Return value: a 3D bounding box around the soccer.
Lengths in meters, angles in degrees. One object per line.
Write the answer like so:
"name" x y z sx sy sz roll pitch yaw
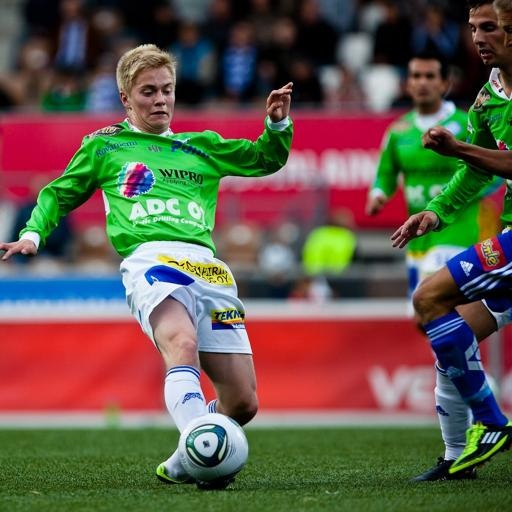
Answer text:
"soccer" -0.177 0.798 3.626 0.331 0.282 0.289 1 -10 -2

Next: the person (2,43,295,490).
"person" -0.444 -0.111 4.241 1.094 1.848 0.974 -2 6 32

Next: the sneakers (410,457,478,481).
"sneakers" 0.852 0.983 4.049 0.325 0.117 0.102 1 -10 1
